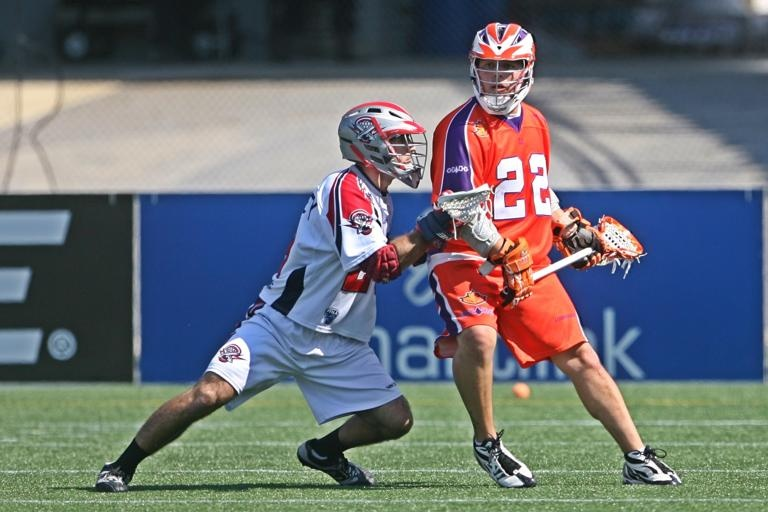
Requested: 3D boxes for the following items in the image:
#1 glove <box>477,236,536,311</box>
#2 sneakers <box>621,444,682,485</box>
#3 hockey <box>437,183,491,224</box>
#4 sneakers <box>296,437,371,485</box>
[{"bbox_3d":[0.884,0.135,10.552,0.365,0.515,0.166,2,10,23],"label":"glove"},{"bbox_3d":[1.965,1.579,10.667,0.404,0.250,0.248,-1,0,3],"label":"sneakers"},{"bbox_3d":[0.584,-0.370,10.386,0.296,0.317,0.295,-11,12,-37],"label":"hockey"},{"bbox_3d":[-0.373,1.625,10.881,0.599,0.232,0.251,25,35,-9],"label":"sneakers"}]
